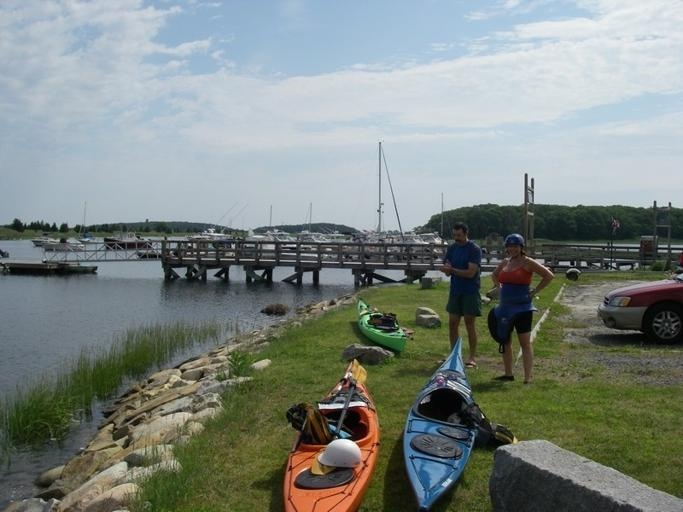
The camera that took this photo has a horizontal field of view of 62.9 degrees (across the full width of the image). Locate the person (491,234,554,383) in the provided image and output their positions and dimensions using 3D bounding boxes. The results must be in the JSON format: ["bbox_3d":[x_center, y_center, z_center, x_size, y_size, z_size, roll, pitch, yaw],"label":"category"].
[{"bbox_3d":[2.917,0.886,9.212,0.613,2.477,1.071,-8,7,-40],"label":"person"}]

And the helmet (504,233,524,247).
[{"bbox_3d":[2.841,-0.287,9.221,0.262,0.287,0.350,-1,-16,10],"label":"helmet"}]

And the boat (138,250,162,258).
[{"bbox_3d":[-14.900,-0.094,43.291,1.416,0.509,0.918,1,5,19],"label":"boat"}]

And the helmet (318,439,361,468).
[{"bbox_3d":[-0.023,2.453,6.946,0.437,0.221,0.301,7,2,6],"label":"helmet"}]

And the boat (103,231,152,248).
[{"bbox_3d":[-20.928,-1.401,54.046,3.116,1.139,25.488,-6,6,-22],"label":"boat"}]

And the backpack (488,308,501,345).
[{"bbox_3d":[2.543,1.161,9.368,0.130,0.506,0.367,2,-8,8],"label":"backpack"}]
